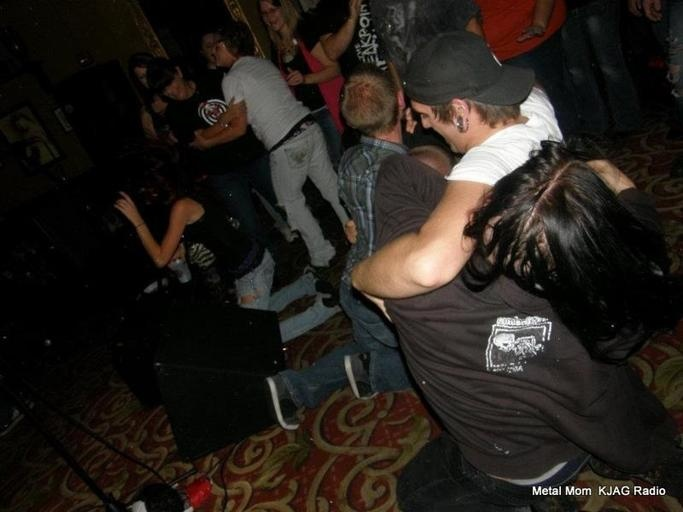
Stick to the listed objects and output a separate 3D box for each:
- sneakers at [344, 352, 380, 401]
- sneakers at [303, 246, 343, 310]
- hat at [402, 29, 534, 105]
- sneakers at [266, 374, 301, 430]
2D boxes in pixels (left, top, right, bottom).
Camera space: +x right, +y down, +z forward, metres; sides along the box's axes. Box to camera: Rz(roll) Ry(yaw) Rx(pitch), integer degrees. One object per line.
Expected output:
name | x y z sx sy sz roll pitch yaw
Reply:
sneakers | 0.124 0.731 3.075 0.151 0.299 0.171 -21 26 2
sneakers | -0.112 0.217 3.943 0.172 0.213 0.548 -28 -13 -5
hat | 0.547 -0.799 2.166 0.515 0.197 0.361 5 40 26
sneakers | -0.343 0.891 3.062 0.131 0.400 0.172 -14 -4 43
